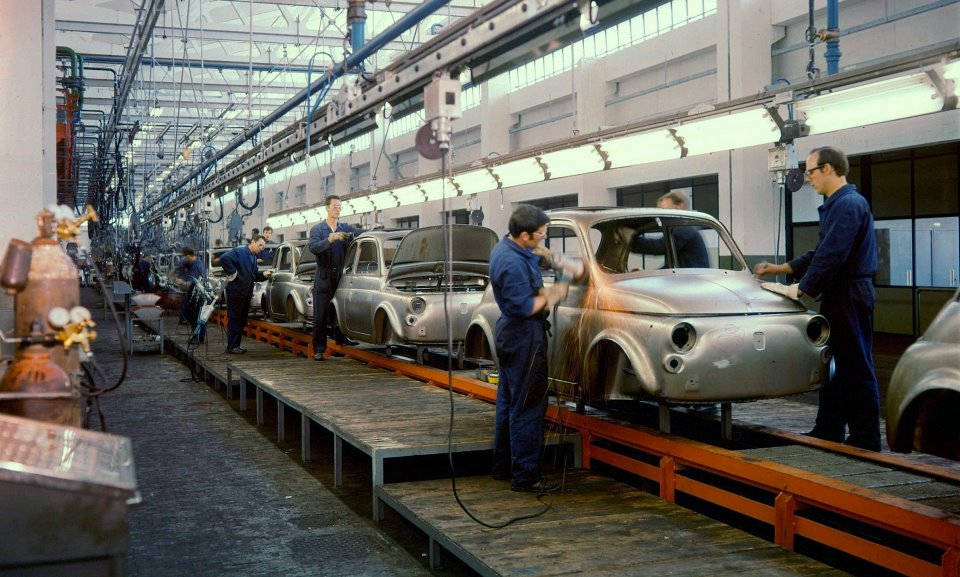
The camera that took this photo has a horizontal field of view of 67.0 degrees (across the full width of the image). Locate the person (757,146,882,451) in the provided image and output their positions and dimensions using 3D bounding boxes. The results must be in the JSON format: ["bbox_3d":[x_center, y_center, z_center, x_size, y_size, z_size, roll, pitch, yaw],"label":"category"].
[{"bbox_3d":[3.518,0.074,7.217,0.749,2.959,0.809,-2,5,28],"label":"person"}]

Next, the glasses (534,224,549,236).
[{"bbox_3d":[0.583,-0.532,6.716,0.089,0.061,0.116,-5,2,41],"label":"glasses"}]

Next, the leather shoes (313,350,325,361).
[{"bbox_3d":[-2.594,1.096,11.768,0.096,0.086,0.204,0,4,1],"label":"leather shoes"}]

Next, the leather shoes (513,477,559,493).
[{"bbox_3d":[0.509,1.819,6.714,0.427,0.188,0.169,-1,-1,-6],"label":"leather shoes"}]

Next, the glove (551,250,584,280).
[{"bbox_3d":[0.913,-0.237,7.591,0.225,0.136,0.346,10,7,-32],"label":"glove"}]

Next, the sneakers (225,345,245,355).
[{"bbox_3d":[-4.379,1.112,12.992,0.412,0.166,0.135,-5,-3,-5],"label":"sneakers"}]

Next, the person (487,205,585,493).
[{"bbox_3d":[0.500,0.526,6.920,0.741,2.644,0.945,-3,5,16],"label":"person"}]
